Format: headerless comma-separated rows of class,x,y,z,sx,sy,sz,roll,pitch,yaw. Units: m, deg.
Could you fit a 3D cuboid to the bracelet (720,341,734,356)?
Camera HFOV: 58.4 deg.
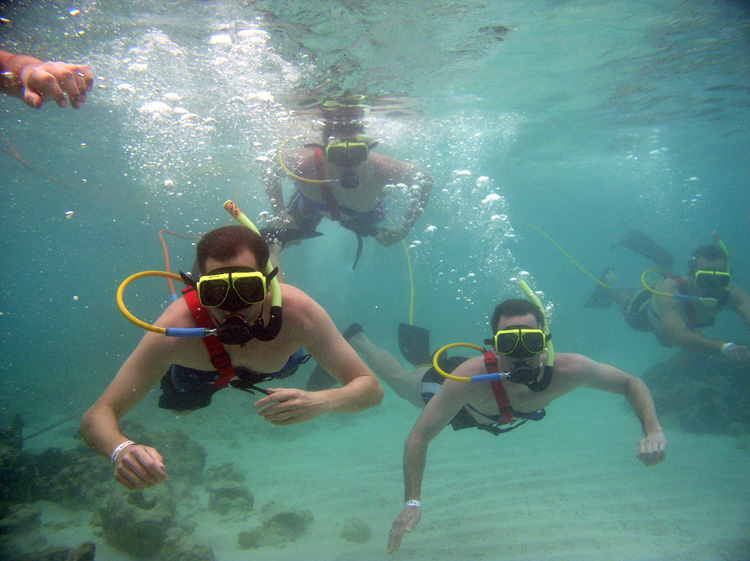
bracelet,8.062,1.569,15.370,0.184,0.328,0.288,1,60,-3

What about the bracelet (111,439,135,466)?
bracelet,-4.476,3.022,11.812,0.233,0.241,0.477,39,64,18
